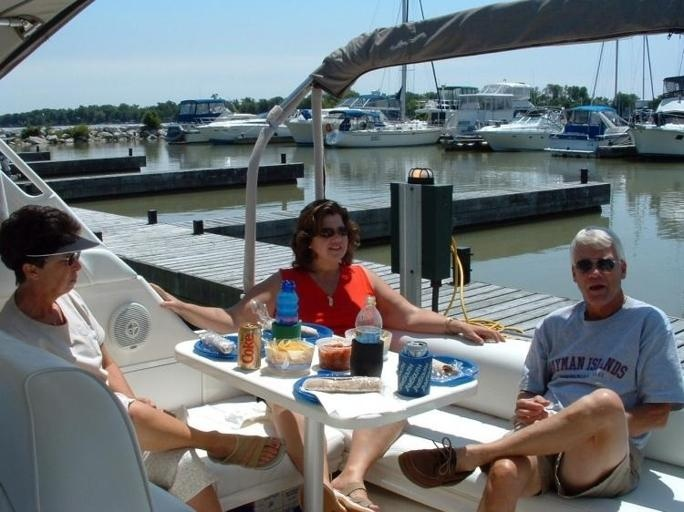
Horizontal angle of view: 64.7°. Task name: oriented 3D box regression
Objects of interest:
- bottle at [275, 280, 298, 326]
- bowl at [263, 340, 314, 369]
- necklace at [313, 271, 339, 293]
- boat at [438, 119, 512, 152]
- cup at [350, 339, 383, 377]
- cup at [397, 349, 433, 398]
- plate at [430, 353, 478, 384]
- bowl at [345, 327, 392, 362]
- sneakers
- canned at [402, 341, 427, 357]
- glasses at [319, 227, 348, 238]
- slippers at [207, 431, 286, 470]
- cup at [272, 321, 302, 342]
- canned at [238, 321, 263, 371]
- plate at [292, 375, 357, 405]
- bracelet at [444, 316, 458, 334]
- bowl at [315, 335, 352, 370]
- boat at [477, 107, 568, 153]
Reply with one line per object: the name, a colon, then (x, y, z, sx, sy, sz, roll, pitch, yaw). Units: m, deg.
bottle: (-0.201, 0.182, 1.972, 0.088, 0.146, 0.089, 4, 6, 0)
bowl: (-0.181, 0.332, 1.858, 0.112, 0.052, 0.109, 2, 2, 0)
necklace: (-0.076, 0.131, 2.633, 0.084, 0.125, 0.035, -1, 4, -15)
boat: (8.956, -8.060, 36.349, 4.670, 1.932, 3.200, -3, 15, -3)
cup: (0.084, 0.343, 1.783, 0.115, 0.134, 0.113, -1, 5, 0)
cup: (0.229, 0.379, 1.729, 0.110, 0.129, 0.113, 3, 5, 0)
plate: (0.369, 0.399, 1.843, 0.119, 0.027, 0.102, 3, 15, 22)
bowl: (0.102, 0.312, 1.986, 0.128, 0.093, 0.133, 0, 3, 0)
sneakers: (0.328, 0.780, 2.011, 0.277, 0.156, 0.121, 5, -32, -27)
canned: (0.236, 0.295, 1.722, 0.080, 0.034, 0.118, -1, 6, 9)
glasses: (-0.034, -0.111, 2.577, 0.162, 0.057, 0.061, -6, 7, -38)
slippers: (-0.376, 0.743, 2.059, 0.291, 0.090, 0.157, 4, 22, -2)
cup: (-0.202, 0.274, 1.931, 0.067, 0.053, 0.069, 0, 4, 0)
canned: (-0.321, 0.322, 1.877, 0.082, 0.150, 0.083, 2, 0, -18)
plate: (-0.069, 0.415, 1.727, 0.207, 0.055, 0.159, -7, 8, -44)
bracelet: (0.528, 0.357, 2.678, 0.053, 0.071, 0.068, 4, 0, -8)
bowl: (-0.019, 0.344, 1.898, 0.095, 0.069, 0.099, 1, 5, 0)
boat: (12.142, -7.799, 34.028, 7.306, 3.222, 2.404, -2, 13, -16)
